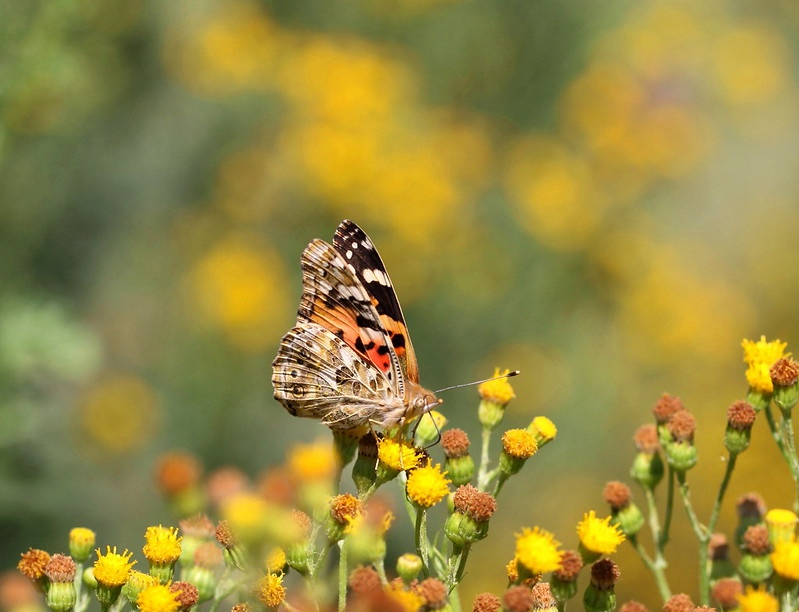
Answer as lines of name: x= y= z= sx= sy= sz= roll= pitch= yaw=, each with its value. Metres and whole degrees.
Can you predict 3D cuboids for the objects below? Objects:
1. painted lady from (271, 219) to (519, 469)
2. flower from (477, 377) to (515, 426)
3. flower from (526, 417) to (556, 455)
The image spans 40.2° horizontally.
painted lady: x=-0.003 y=0.159 z=3.225 sx=0.667 sy=0.457 sz=0.776 roll=11 pitch=80 yaw=-5
flower: x=0.258 y=0.267 z=3.050 sx=0.096 sy=0.101 sz=0.153 roll=15 pitch=86 yaw=-30
flower: x=0.377 y=0.325 z=2.912 sx=0.077 sy=0.080 sz=0.075 roll=31 pitch=99 yaw=-28
